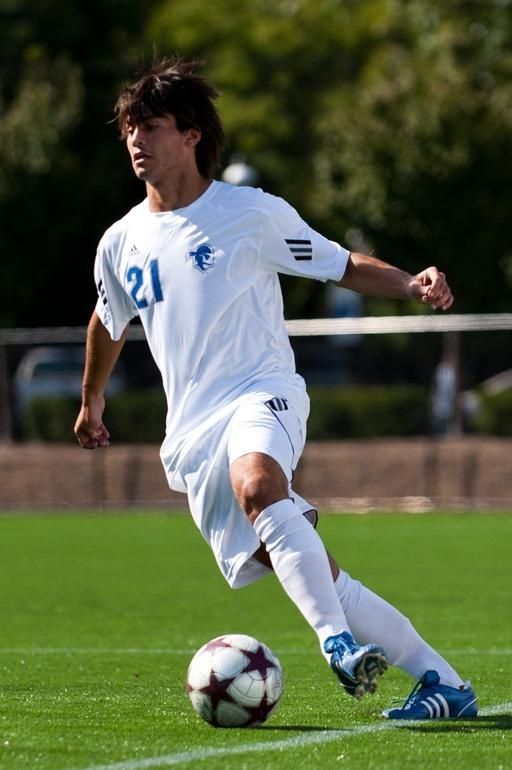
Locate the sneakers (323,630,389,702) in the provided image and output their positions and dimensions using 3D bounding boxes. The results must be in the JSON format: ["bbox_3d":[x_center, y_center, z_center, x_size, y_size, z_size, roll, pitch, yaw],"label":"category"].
[{"bbox_3d":[0.246,0.729,2.730,0.123,0.249,0.085,41,70,16],"label":"sneakers"}]

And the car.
[{"bbox_3d":[-3.875,-0.216,21.493,2.334,1.066,1.269,-3,0,8],"label":"car"}]

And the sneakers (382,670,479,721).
[{"bbox_3d":[0.540,0.973,3.315,0.335,0.140,0.098,3,-5,-24],"label":"sneakers"}]

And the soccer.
[{"bbox_3d":[-0.065,0.914,3.256,0.284,0.242,0.231,1,1,2],"label":"soccer"}]
